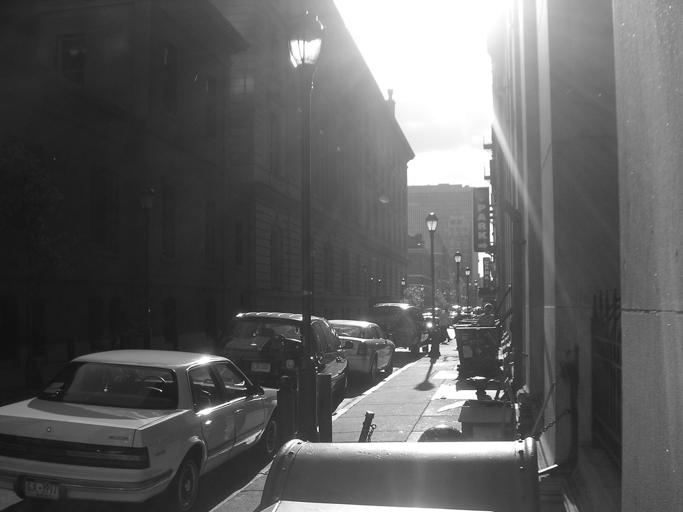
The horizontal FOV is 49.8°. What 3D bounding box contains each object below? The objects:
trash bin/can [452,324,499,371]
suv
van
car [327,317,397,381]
[{"bbox_3d":[1.733,1.174,9.461,0.567,0.819,0.570,-3,7,4],"label":"trash bin/can"},{"bbox_3d":[-0.995,1.959,14.390,1.291,1.316,2.504,-1,-5,18],"label":"suv"},{"bbox_3d":[2.591,3.105,29.558,1.211,1.418,2.959,-2,-20,13],"label":"van"},{"bbox_3d":[0.644,2.474,19.771,0.899,0.902,2.457,-1,-2,15],"label":"car"}]
